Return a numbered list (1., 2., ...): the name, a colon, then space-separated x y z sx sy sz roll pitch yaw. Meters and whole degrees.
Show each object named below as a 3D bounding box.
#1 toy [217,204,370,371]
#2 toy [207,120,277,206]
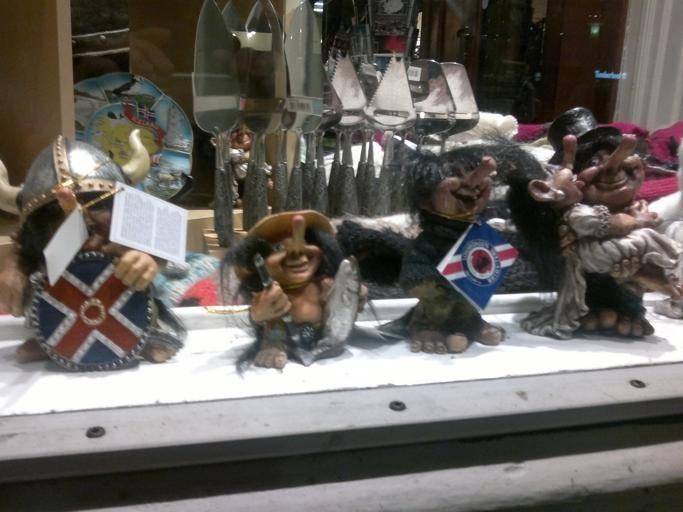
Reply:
1. toy: -0.099 0.061 1.255 0.255 0.300 0.129 -8 22 -21
2. toy: -0.252 -0.236 1.589 0.146 0.204 0.236 -4 20 -11
